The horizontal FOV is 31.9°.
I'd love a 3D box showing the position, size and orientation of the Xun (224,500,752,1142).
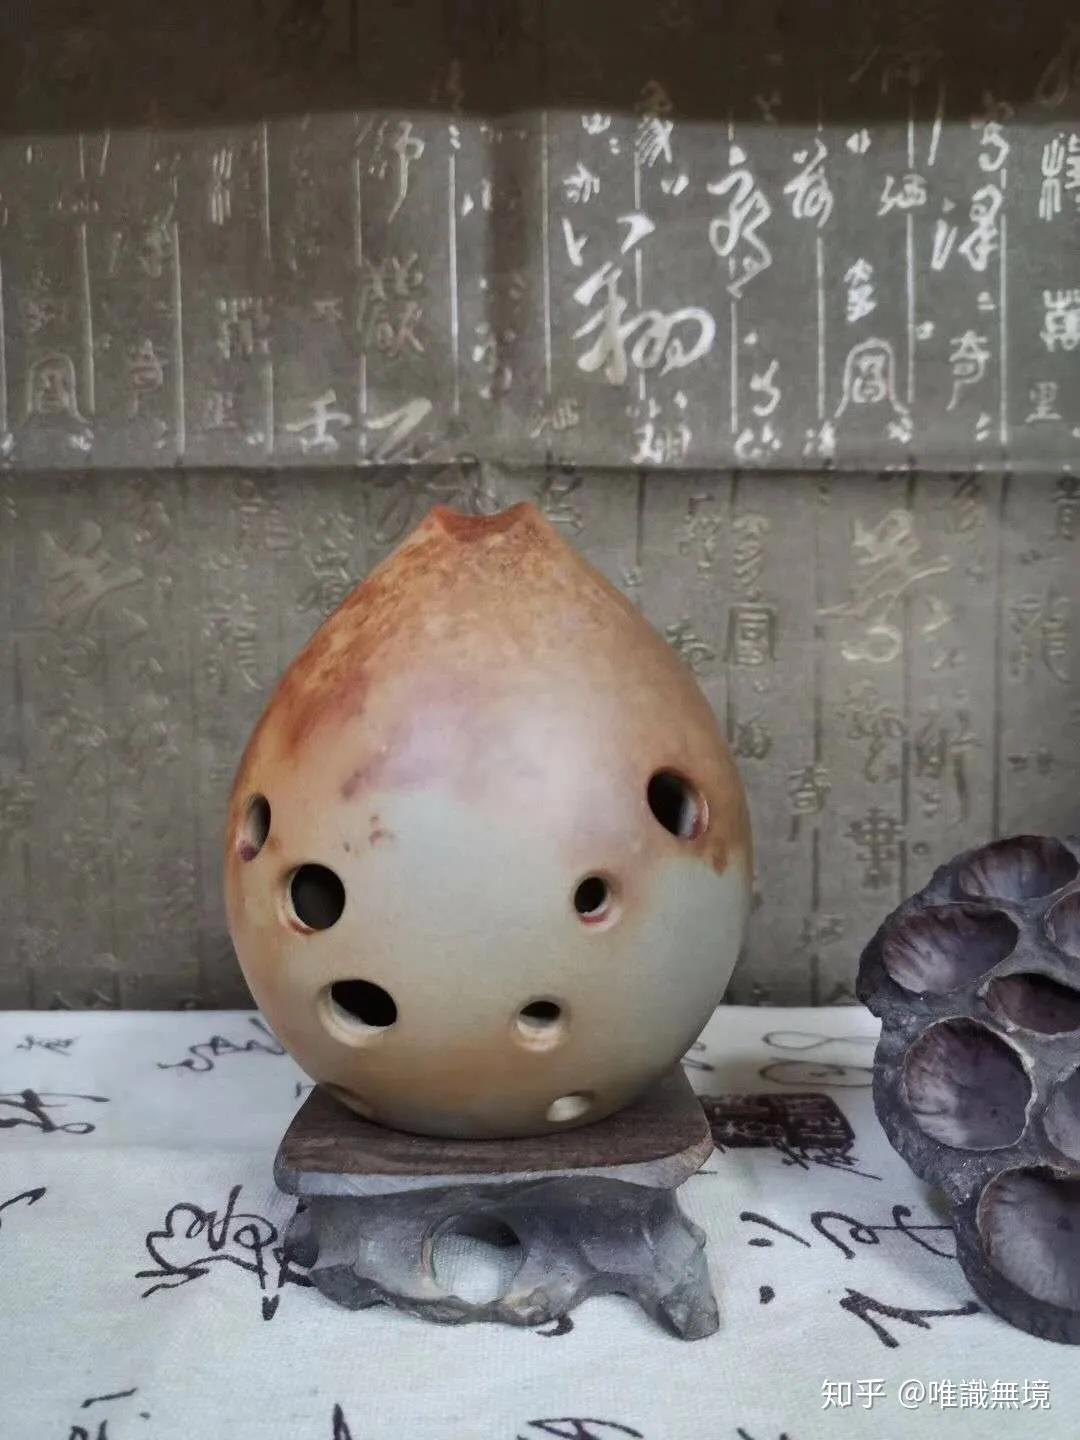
[{"bbox_3d":[-0.016,0.087,1.880,0.514,0.621,0.540,2,3,23],"label":"Xun"}]
